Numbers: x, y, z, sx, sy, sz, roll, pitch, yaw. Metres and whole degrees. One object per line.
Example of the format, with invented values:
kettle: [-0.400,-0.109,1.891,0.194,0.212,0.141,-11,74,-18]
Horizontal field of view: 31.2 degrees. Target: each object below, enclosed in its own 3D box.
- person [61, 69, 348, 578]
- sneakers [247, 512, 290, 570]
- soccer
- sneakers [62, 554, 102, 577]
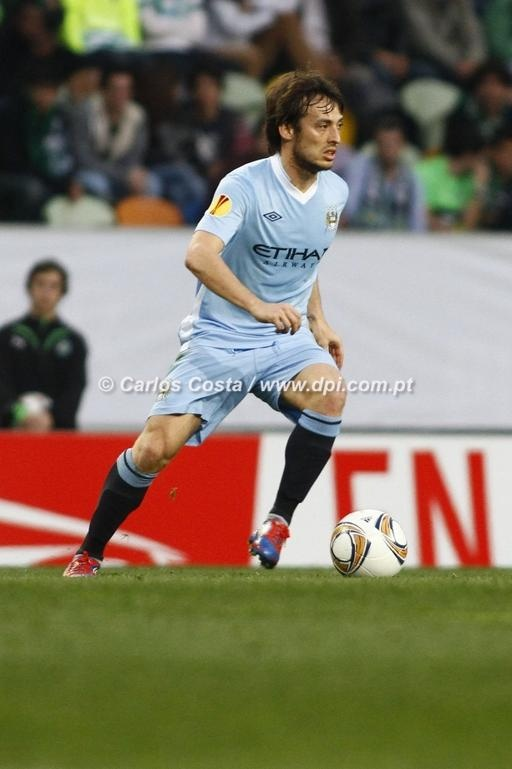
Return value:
person: [-0.032,-0.237,3.169,0.740,1.513,1.121,11,32,13]
sneakers: [0.037,0.521,3.067,0.111,0.069,0.181,-3,41,36]
soccer: [0.357,0.521,2.977,0.224,0.163,0.209,-15,33,-28]
sneakers: [-0.573,0.585,2.984,0.078,0.054,0.160,-9,2,-2]
